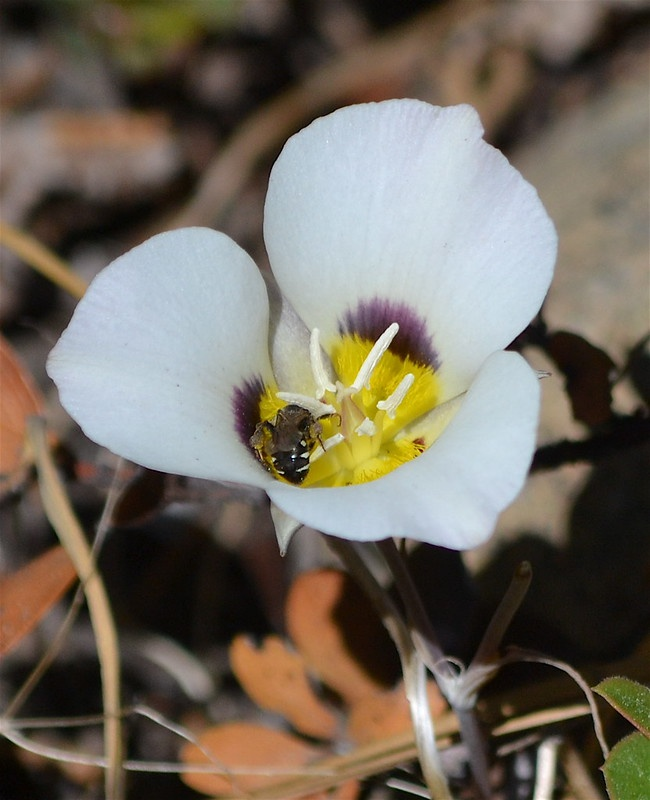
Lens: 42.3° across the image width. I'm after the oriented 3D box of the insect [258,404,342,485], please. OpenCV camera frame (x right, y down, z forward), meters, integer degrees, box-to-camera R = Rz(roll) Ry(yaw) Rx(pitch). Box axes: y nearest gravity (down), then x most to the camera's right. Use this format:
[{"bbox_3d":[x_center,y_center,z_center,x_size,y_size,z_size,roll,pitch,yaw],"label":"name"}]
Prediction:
[{"bbox_3d":[-0.046,0.037,0.981,0.095,0.046,0.128,-14,41,11],"label":"insect"}]
